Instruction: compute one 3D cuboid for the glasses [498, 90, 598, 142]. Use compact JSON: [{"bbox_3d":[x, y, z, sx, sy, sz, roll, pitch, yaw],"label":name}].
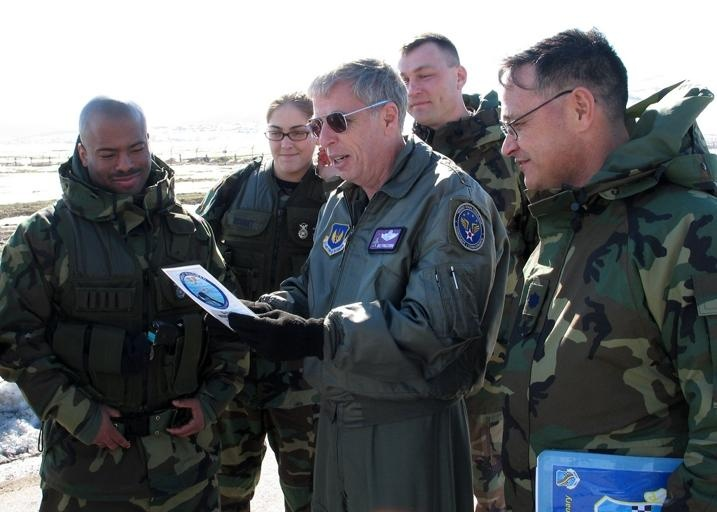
[{"bbox_3d":[0.819,-0.667,2.931,0.228,0.062,0.221,-24,-3,-1],"label":"glasses"}]
